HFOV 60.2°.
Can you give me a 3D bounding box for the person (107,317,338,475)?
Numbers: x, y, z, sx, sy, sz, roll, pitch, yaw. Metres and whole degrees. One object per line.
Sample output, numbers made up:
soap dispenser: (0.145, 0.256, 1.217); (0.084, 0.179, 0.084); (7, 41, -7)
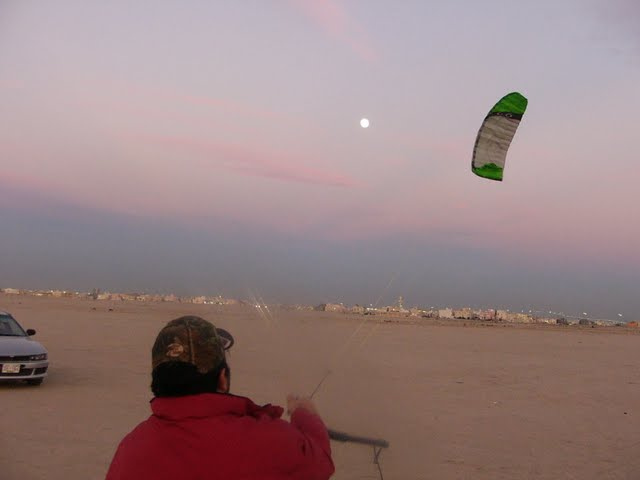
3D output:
person: (-0.628, 1.334, 4.503); (1.103, 1.218, 1.467); (-18, -29, 21)
